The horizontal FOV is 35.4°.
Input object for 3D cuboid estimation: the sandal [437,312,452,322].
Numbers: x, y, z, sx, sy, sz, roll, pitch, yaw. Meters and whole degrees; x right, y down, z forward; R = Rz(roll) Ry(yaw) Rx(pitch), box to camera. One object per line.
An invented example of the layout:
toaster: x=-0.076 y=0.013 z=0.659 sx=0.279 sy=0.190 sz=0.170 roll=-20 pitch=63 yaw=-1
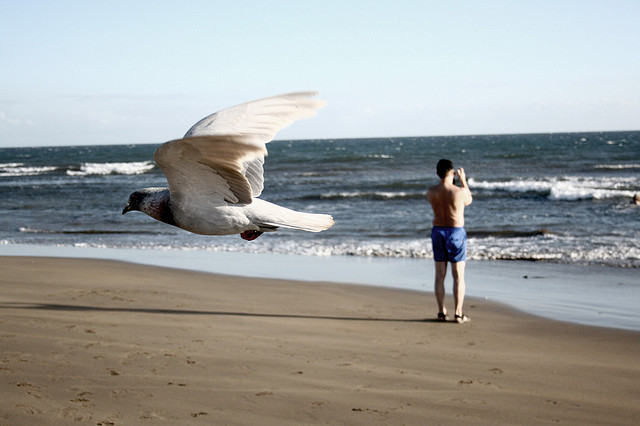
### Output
sandal: x=2.410 y=1.956 z=18.989 sx=0.332 sy=0.129 sz=0.132 roll=-3 pitch=5 yaw=-45

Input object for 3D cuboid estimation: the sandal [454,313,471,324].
sandal: x=2.725 y=1.971 z=18.906 sx=0.357 sy=0.138 sz=0.132 roll=-4 pitch=7 yaw=-43
